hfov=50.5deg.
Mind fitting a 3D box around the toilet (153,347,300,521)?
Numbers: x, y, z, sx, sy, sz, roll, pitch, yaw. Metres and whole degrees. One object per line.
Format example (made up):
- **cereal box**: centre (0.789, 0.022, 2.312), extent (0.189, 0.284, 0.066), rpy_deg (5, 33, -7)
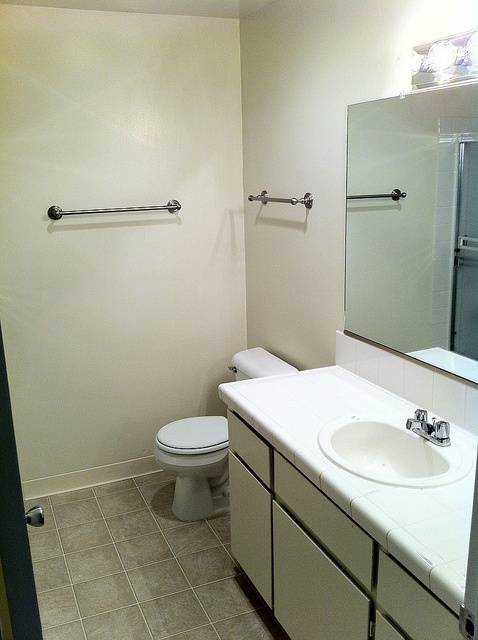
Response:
- **toilet**: centre (-0.128, 0.530, 2.782), extent (0.753, 0.957, 0.601), rpy_deg (-4, 12, -28)
